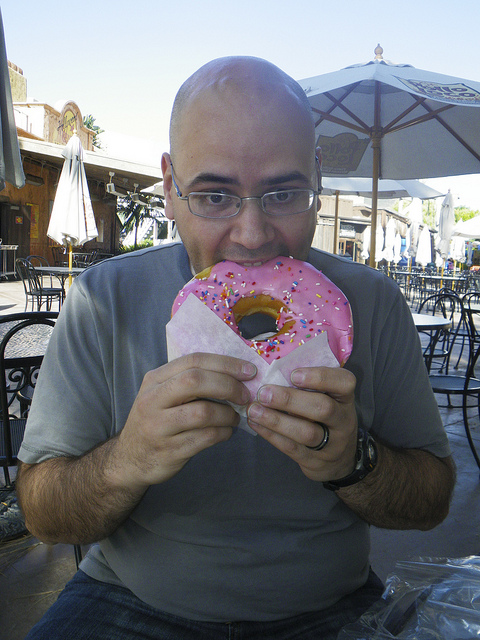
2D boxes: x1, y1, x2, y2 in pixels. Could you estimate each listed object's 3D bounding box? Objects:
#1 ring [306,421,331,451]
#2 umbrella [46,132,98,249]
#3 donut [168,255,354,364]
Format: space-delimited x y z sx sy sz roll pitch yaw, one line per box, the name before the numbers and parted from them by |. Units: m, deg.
ring | 0.163 0.238 1.127 0.042 0.074 0.036 0 7 -13
umbrella | -2.475 -1.868 8.308 0.597 1.613 0.703 8 10 21
donut | 0.054 -0.033 1.255 0.399 0.221 0.241 4 7 11
